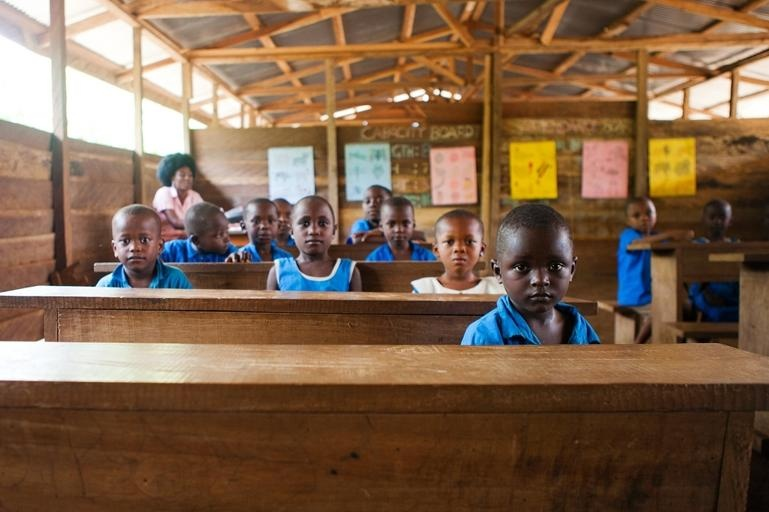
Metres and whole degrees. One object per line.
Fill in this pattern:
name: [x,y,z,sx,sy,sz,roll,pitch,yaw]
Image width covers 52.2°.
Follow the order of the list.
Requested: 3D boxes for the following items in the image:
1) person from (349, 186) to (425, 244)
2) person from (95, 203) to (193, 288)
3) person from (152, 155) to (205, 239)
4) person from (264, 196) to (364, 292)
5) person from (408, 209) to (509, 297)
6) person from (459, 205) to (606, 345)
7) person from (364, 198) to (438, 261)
person: [-0.048,-0.452,8.141,0.925,0.558,0.612,-8,-2,14]
person: [-1.664,0.034,5.907,0.905,0.804,0.565,-2,-8,-9]
person: [-2.351,-0.677,8.963,0.716,1.004,0.792,0,11,-1]
person: [-0.600,-0.094,6.446,1.009,1.045,0.567,0,-17,-5]
person: [0.451,0.044,5.747,0.964,0.762,0.539,0,-11,0]
person: [0.881,0.155,4.607,0.961,0.911,0.619,-4,6,-10]
person: [0.069,-0.197,6.975,0.859,0.695,0.523,-1,2,-4]
